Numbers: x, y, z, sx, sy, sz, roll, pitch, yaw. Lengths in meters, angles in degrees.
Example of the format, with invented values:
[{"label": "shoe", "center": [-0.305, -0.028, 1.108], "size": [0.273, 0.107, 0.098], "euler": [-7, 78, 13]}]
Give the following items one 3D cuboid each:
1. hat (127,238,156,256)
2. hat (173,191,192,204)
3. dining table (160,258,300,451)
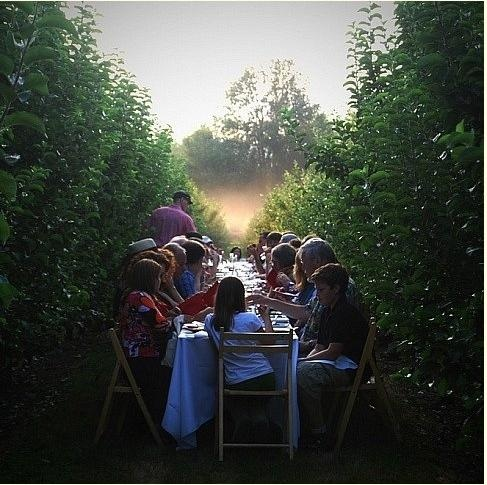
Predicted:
[{"label": "hat", "center": [-1.153, 0.063, 4.956], "size": [0.237, 0.116, 0.255], "euler": [-23, 1, -13]}, {"label": "hat", "center": [-1.132, -0.879, 8.278], "size": [0.347, 0.226, 0.254], "euler": [5, 7, -33]}, {"label": "dining table", "center": [0.081, 1.480, 4.001], "size": [1.349, 0.912, 1.936], "euler": [-11, -36, -5]}]
